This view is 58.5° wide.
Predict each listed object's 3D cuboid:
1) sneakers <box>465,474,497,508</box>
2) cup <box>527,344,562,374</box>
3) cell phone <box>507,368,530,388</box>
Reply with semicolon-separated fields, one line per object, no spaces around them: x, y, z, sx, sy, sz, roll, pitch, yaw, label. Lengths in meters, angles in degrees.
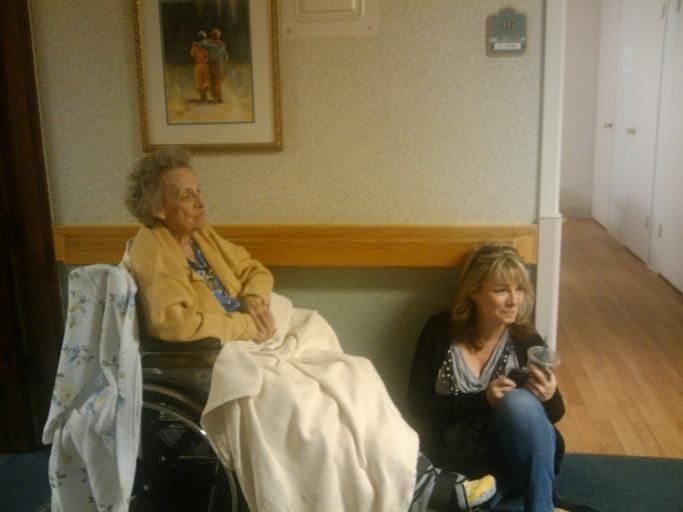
0.563;0.954;2.464;0.132;0.098;0.045;-14;10;-25;sneakers
0.807;0.415;2.420;0.114;0.095;0.109;-2;16;1;cup
0.733;0.502;2.516;0.045;0.095;0.022;10;51;6;cell phone
